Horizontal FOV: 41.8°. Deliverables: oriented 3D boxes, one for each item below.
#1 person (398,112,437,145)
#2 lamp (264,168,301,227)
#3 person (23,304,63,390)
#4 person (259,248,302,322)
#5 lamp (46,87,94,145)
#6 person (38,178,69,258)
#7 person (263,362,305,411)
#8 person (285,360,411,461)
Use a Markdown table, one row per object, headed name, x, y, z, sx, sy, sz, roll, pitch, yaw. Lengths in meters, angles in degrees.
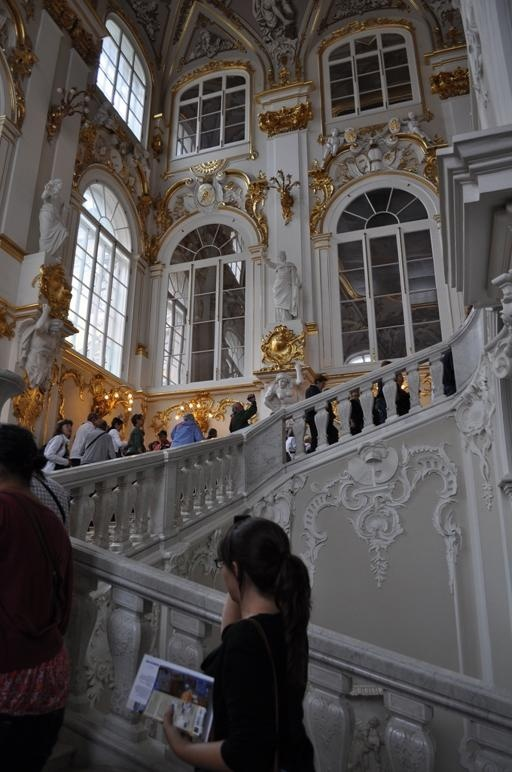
| name | x | y | z | sx | sy | sz | roll | pitch | yaw |
| --- | --- | --- | --- | --- | --- | --- | --- | --- | --- |
| person | 2.791 | -4.434 | 11.593 | 0.530 | 0.793 | 0.244 | 0 | -18 | 11 |
| lamp | 0.467 | -3.399 | 12.059 | 0.617 | 1.134 | 0.163 | -4 | -20 | 23 |
| person | -2.792 | -0.459 | 8.879 | 0.325 | 1.072 | 0.657 | 0 | -18 | 12 |
| person | 0.499 | -1.657 | 11.340 | 0.518 | 1.448 | 0.648 | 10 | -19 | -20 |
| lamp | -2.880 | -4.200 | 10.410 | 0.551 | 0.749 | 0.504 | -1 | -11 | -22 |
| person | -2.866 | -2.285 | 9.426 | 0.409 | 1.228 | 0.338 | 12 | -20 | -25 |
| person | 0.384 | 0.086 | 8.991 | 0.523 | 0.810 | 0.249 | -6 | -20 | 10 |
| person | 0.913 | 0.266 | 6.822 | 0.179 | 0.635 | 1.619 | 29 | -42 | -26 |
